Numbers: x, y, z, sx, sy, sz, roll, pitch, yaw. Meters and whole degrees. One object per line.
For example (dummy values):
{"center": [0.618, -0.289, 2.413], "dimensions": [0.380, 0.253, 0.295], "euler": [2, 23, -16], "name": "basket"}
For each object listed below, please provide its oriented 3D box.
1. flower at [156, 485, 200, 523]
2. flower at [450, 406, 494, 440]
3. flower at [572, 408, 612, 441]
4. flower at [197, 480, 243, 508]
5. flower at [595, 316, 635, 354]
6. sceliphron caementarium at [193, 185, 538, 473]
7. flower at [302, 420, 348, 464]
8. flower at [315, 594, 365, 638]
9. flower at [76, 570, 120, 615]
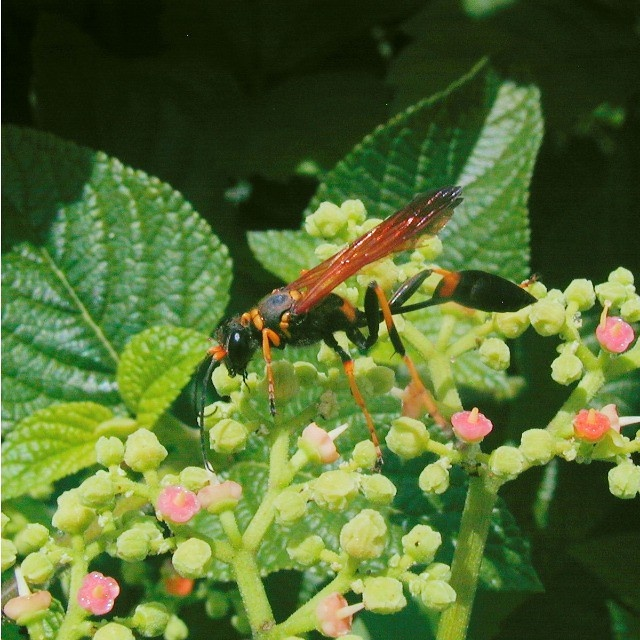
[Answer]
{"center": [-0.223, 0.289, 1.257], "dimensions": [0.056, 0.040, 0.060], "euler": [14, 45, -10], "name": "flower"}
{"center": [0.255, 0.163, 1.307], "dimensions": [0.053, 0.043, 0.058], "euler": [2, 37, -1], "name": "flower"}
{"center": [0.436, 0.172, 1.290], "dimensions": [0.055, 0.057, 0.047], "euler": [-30, 20, -22], "name": "flower"}
{"center": [-0.158, 0.281, 1.292], "dimensions": [0.066, 0.047, 0.049], "euler": [-24, 18, -5], "name": "flower"}
{"center": [0.491, 0.024, 1.339], "dimensions": [0.061, 0.050, 0.049], "euler": [-36, 23, -35], "name": "flower"}
{"center": [0.000, -0.054, 1.599], "dimensions": [0.764, 0.655, 0.414], "euler": [-3, 23, -20], "name": "sceliphron caementarium"}
{"center": [0.003, 0.202, 1.311], "dimensions": [0.076, 0.061, 0.044], "euler": [-37, 4, -6], "name": "flower"}
{"center": [0.036, 0.444, 1.218], "dimensions": [0.068, 0.054, 0.037], "euler": [-29, 2, 12], "name": "flower"}
{"center": [-0.347, 0.424, 1.254], "dimensions": [0.066, 0.016, 0.064], "euler": [26, 52, 24], "name": "flower"}
